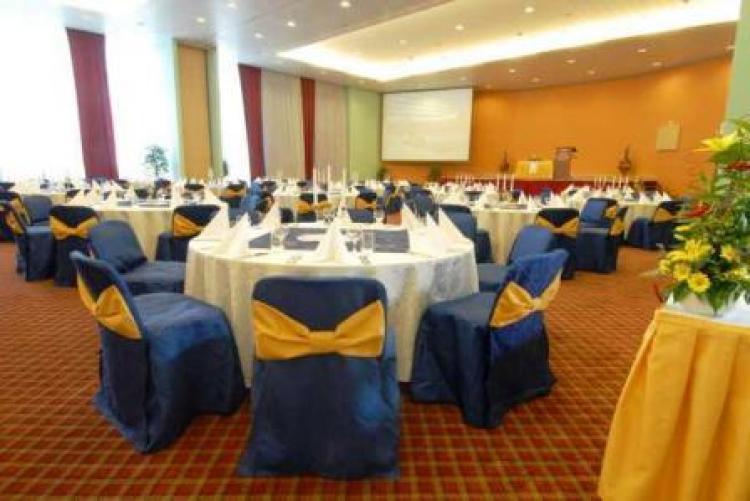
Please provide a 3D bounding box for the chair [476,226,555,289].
[{"bbox_3d":[1.285,0.058,4.667,0.618,0.728,0.557,6,6,-22],"label":"chair"}]

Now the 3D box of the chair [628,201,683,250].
[{"bbox_3d":[4.214,-0.401,7.655,0.643,0.809,0.668,-3,18,-9],"label":"chair"}]

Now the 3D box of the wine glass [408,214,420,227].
[{"bbox_3d":[0.342,-0.260,4.431,0.058,0.112,0.111,-10,27,-18],"label":"wine glass"}]

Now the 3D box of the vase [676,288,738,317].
[{"bbox_3d":[1.995,0.329,3.059,0.204,0.100,0.210,1,3,32],"label":"vase"}]

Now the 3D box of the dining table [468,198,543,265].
[{"bbox_3d":[1.685,-0.249,6.526,0.749,0.595,0.747,1,7,1],"label":"dining table"}]

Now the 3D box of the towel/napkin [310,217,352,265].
[{"bbox_3d":[-0.305,-0.062,3.802,0.307,0.359,0.261,3,8,22],"label":"towel/napkin"}]

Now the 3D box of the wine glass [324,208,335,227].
[{"bbox_3d":[-0.391,-0.315,4.567,0.101,0.144,0.138,1,1,-2],"label":"wine glass"}]

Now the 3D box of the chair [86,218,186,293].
[{"bbox_3d":[-1.995,0.080,4.691,0.739,0.869,0.644,2,15,-1],"label":"chair"}]

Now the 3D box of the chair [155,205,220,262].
[{"bbox_3d":[-1.868,-0.172,5.162,0.499,0.595,0.392,1,35,-20],"label":"chair"}]

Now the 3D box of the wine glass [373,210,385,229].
[{"bbox_3d":[0.047,-0.300,4.695,0.134,0.234,0.151,-2,11,-3],"label":"wine glass"}]

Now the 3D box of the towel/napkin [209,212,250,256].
[{"bbox_3d":[-1.161,-0.124,4.108,0.261,0.317,0.229,24,-1,17],"label":"towel/napkin"}]

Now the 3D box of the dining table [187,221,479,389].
[{"bbox_3d":[-0.267,0.231,3.884,1.401,0.555,1.458,-5,10,-28],"label":"dining table"}]

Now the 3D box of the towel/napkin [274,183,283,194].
[{"bbox_3d":[-1.657,-1.098,8.955,0.139,0.125,0.632,-1,14,-7],"label":"towel/napkin"}]

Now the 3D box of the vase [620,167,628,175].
[{"bbox_3d":[6.770,-2.163,13.856,0.257,0.212,0.350,7,15,25],"label":"vase"}]

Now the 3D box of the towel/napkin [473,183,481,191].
[{"bbox_3d":[2.350,-1.450,11.667,0.275,0.143,0.425,1,5,10],"label":"towel/napkin"}]

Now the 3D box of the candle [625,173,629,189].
[{"bbox_3d":[6.535,-1.835,13.209,0.109,0.169,1.859,7,15,26],"label":"candle"}]

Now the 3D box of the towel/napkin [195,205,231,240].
[{"bbox_3d":[-1.358,-0.235,4.432,0.285,0.323,0.228,-1,8,-7],"label":"towel/napkin"}]

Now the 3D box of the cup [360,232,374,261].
[{"bbox_3d":[-0.052,-0.050,3.869,0.097,0.219,0.230,0,13,-2],"label":"cup"}]

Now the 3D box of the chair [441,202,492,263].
[{"bbox_3d":[0.963,-0.180,5.283,0.468,0.647,0.443,16,31,37],"label":"chair"}]
